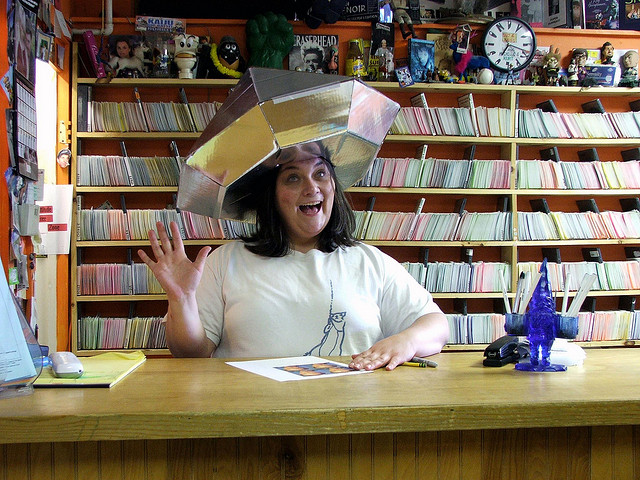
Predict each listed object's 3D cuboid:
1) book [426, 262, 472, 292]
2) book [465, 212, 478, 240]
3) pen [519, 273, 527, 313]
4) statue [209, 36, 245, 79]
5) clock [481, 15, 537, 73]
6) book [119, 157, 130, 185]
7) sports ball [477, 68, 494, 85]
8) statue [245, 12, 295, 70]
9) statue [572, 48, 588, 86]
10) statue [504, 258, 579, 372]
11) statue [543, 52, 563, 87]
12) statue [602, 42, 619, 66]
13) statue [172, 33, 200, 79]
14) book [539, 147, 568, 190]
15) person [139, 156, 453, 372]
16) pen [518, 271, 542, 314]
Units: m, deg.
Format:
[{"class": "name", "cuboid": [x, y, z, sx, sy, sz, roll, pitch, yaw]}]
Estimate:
[{"class": "book", "cuboid": [0.956, 0.238, 4.368, 0.335, 0.255, 0.207, -1, 23, 3]}, {"class": "book", "cuboid": [1.125, -0.100, 4.306, 0.036, 0.155, 0.151, 17, 11, 0]}, {"class": "pen", "cuboid": [0.705, 0.188, 2.016, 0.015, 0.150, 0.013, 9, -14, 18]}, {"class": "statue", "cuboid": [-0.664, -1.291, 4.142, 0.254, 0.311, 0.156, -2, 4, -10]}, {"class": "clock", "cuboid": [1.398, -1.454, 4.346, 0.469, 0.525, 0.068, 1, 0, 2]}, {"class": "book", "cuboid": [-1.363, -0.479, 4.052, 0.051, 0.186, 0.024, -4, 5, -35]}, {"class": "sports ball", "cuboid": [1.231, -1.210, 4.316, 0.085, 0.107, 0.115, 4, -10, -2]}, {"class": "statue", "cuboid": [-0.348, -1.413, 4.127, 0.349, 0.398, 0.192, -1, 4, -7]}, {"class": "statue", "cuboid": [2.018, -1.339, 4.519, 0.119, 0.288, 0.106, 9, 15, 26]}, {"class": "statue", "cuboid": [0.757, 0.243, 1.990, 0.232, 0.377, 0.196, 1, 4, 22]}, {"class": "statue", "cuboid": [1.788, -1.305, 4.437, 0.141, 0.295, 0.111, 2, 30, 18]}, {"class": "statue", "cuboid": [2.263, -1.443, 4.516, 0.117, 0.207, 0.143, 1, 5, 26]}, {"class": "statue", "cuboid": [-0.931, -1.296, 4.110, 0.198, 0.332, 0.186, -3, 4, -22]}, {"class": "book", "cuboid": [1.769, -0.534, 4.416, 0.040, 0.392, 0.290, -15, -6, -10]}, {"class": "person", "cuboid": [-0.065, 0.236, 2.362, 1.191, 1.232, 0.798, 0, 0, -9]}, {"class": "pen", "cuboid": [0.718, 0.186, 1.987, 0.016, 0.154, 0.016, 24, 7, 2]}]
